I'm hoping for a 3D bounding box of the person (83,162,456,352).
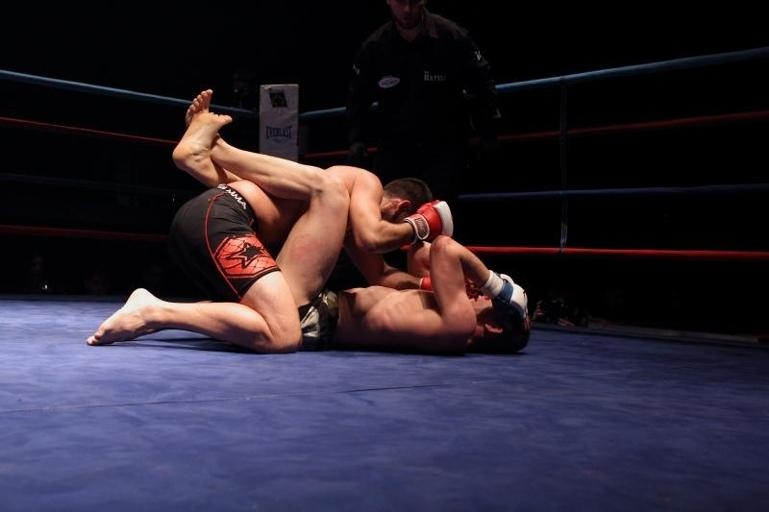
[{"bbox_3d":[-0.513,-0.074,2.654,1.542,0.681,0.864,-8,14,-26],"label":"person"}]

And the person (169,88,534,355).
[{"bbox_3d":[-0.095,-0.088,2.635,1.770,0.962,0.720,10,-3,-14],"label":"person"}]

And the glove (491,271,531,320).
[{"bbox_3d":[0.519,0.160,2.409,0.083,0.186,0.243,6,4,39],"label":"glove"}]
